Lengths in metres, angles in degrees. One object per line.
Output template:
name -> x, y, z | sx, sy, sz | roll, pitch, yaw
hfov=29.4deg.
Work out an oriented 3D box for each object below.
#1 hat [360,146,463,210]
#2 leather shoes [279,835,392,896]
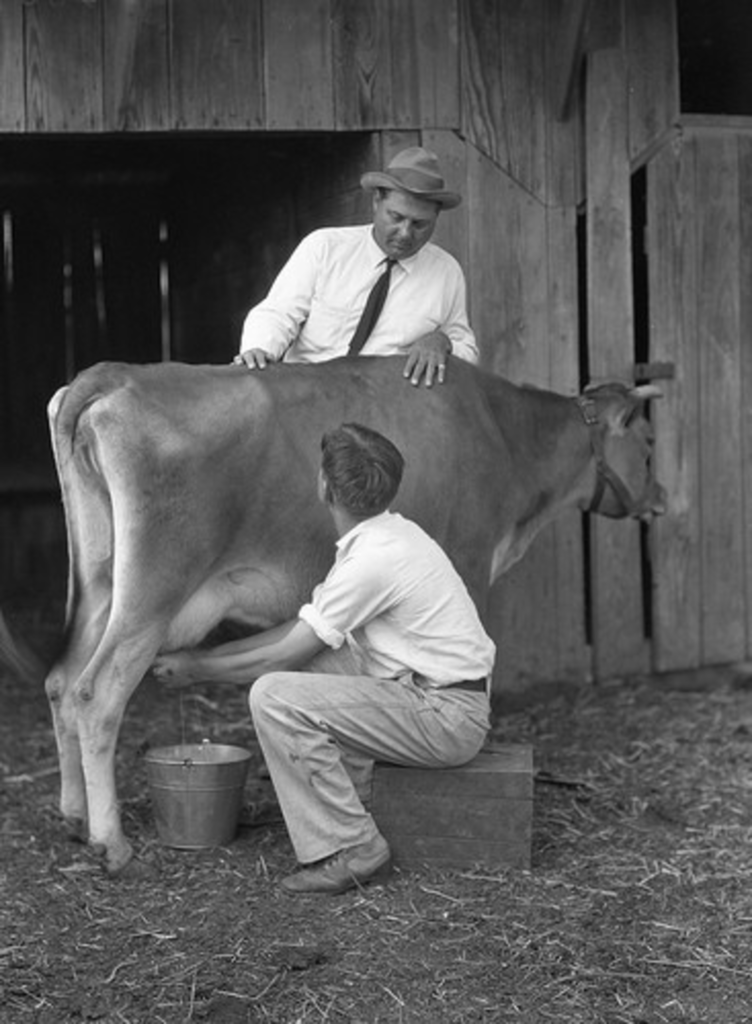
hat -> 0.157, -1.065, 4.563 | 0.200, 0.098, 0.230 | 19, -1, 31
leather shoes -> -0.089, 0.937, 3.892 | 0.319, 0.141, 0.120 | -14, 36, -16
